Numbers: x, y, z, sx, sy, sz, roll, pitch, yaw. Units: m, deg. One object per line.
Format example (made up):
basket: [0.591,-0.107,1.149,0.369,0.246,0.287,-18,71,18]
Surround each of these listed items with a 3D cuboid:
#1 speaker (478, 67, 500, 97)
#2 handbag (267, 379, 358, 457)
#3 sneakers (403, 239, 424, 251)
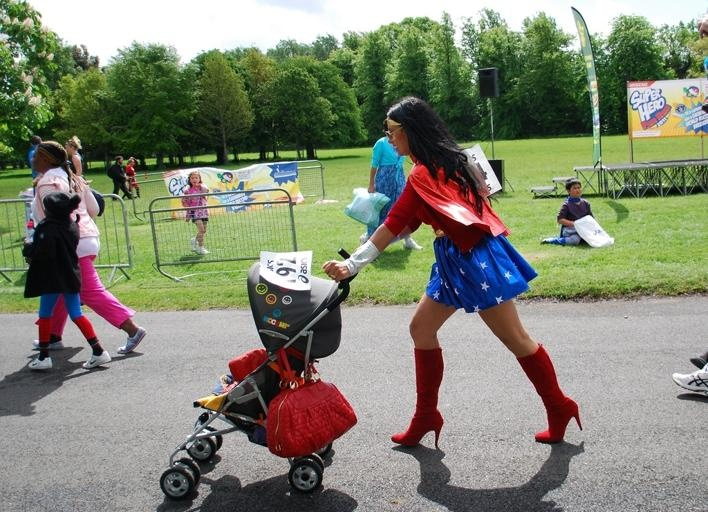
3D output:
speaker: [3.824,-4.964,17.909,0.523,0.846,1.067,-3,12,11]
handbag: [-0.339,1.216,4.666,0.624,0.561,0.294,-13,0,-32]
sneakers: [1.097,-0.216,11.076,0.436,0.185,0.147,4,25,22]
